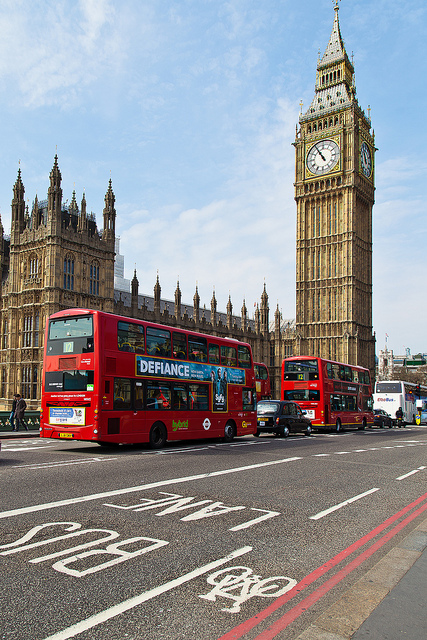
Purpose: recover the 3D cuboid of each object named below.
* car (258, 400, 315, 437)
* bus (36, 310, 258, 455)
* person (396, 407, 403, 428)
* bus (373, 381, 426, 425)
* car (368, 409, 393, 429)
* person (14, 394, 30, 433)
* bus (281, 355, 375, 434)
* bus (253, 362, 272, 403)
[{"bbox_3d":[3.010,4.138,27.197,1.170,1.185,2.906,-4,-6,34],"label":"car"},{"bbox_3d":[-2.165,2.055,20.348,3.008,4.619,9.653,-4,-7,36],"label":"bus"},{"bbox_3d":[13.976,7.376,48.066,0.455,1.292,1.246,0,-6,18],"label":"person"},{"bbox_3d":[15.701,6.795,55.471,2.759,3.794,8.684,0,-1,23],"label":"bus"},{"bbox_3d":[11.900,7.047,45.450,1.123,0.999,2.611,-1,-1,33],"label":"car"},{"bbox_3d":[-7.731,3.762,25.724,0.548,1.477,1.649,3,-6,-17],"label":"person"},{"bbox_3d":[6.065,3.924,36.171,2.672,4.559,8.312,-2,-4,34],"label":"bus"},{"bbox_3d":[2.919,3.649,38.321,0.914,2.262,5.471,1,-6,5],"label":"bus"}]
